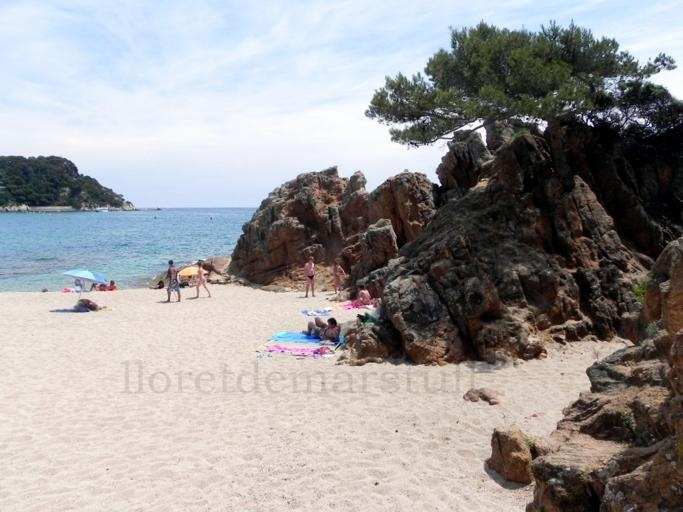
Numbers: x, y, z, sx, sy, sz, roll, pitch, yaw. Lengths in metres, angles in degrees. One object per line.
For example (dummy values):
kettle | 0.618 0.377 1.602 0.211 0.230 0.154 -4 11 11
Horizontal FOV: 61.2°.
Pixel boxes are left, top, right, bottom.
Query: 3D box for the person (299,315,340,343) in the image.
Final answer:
person | -0.554 2.084 16.922 0.511 0.642 1.407 -2 3 -33

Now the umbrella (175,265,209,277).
umbrella | -7.653 0.781 29.325 1.113 0.318 1.015 2 -1 19
